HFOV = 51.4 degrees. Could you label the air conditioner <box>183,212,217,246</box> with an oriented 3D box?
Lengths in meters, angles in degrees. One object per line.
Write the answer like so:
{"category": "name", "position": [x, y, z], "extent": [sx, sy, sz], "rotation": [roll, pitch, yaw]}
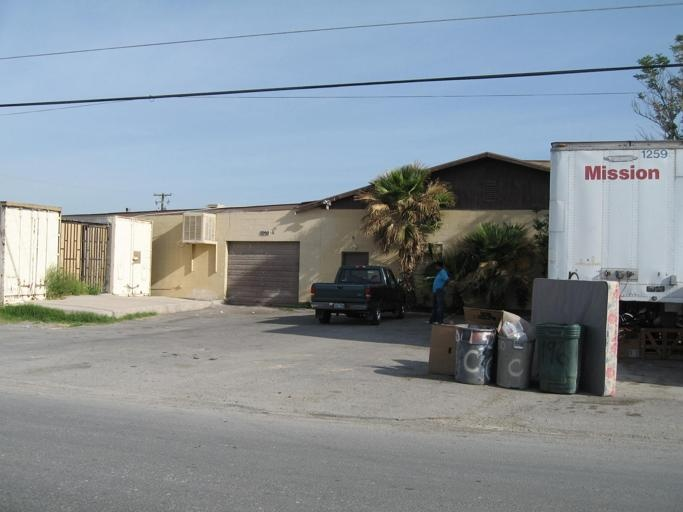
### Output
{"category": "air conditioner", "position": [-6.017, -1.078, 30.199], "extent": [1.387, 1.302, 1.144], "rotation": [1, -14, -11]}

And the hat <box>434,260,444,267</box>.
{"category": "hat", "position": [2.978, 0.275, 21.866], "extent": [0.277, 0.304, 0.289], "rotation": [6, 14, 20]}

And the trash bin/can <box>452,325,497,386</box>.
{"category": "trash bin/can", "position": [2.423, 1.800, 12.810], "extent": [0.825, 0.944, 0.905], "rotation": [2, -5, 1]}

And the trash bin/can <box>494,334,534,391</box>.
{"category": "trash bin/can", "position": [3.026, 1.912, 12.947], "extent": [0.740, 0.903, 0.809], "rotation": [2, -7, 1]}

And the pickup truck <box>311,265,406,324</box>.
{"category": "pickup truck", "position": [0.734, 1.133, 22.104], "extent": [1.472, 1.126, 2.775], "rotation": [-1, 0, 20]}
